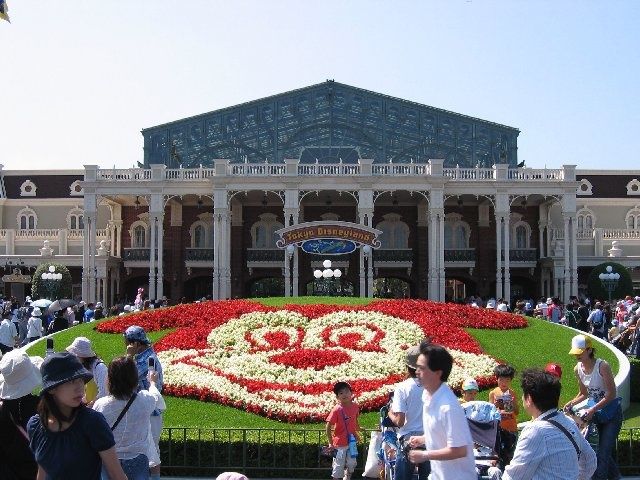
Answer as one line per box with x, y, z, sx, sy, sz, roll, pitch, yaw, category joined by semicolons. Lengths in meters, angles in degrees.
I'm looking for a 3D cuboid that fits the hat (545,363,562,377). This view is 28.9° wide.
6.395;3.502;34.039;0.452;0.383;0.723;10;-4;22;hat

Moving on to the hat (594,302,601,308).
10.528;2.428;47.266;0.263;0.290;0.261;3;2;40;hat

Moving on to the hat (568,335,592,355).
7.227;2.849;34.178;0.414;0.353;0.662;-12;-10;39;hat

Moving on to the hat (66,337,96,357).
-6.495;2.820;33.361;0.550;0.306;0.514;6;-3;39;hat

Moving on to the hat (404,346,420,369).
2.397;3.025;32.415;0.228;0.582;0.665;3;-7;-25;hat

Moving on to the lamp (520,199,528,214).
10.207;-1.784;62.451;0.194;0.709;0.424;-3;-4;15;lamp

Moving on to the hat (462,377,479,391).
4.095;3.925;34.012;0.398;0.373;0.416;0;-6;0;hat
